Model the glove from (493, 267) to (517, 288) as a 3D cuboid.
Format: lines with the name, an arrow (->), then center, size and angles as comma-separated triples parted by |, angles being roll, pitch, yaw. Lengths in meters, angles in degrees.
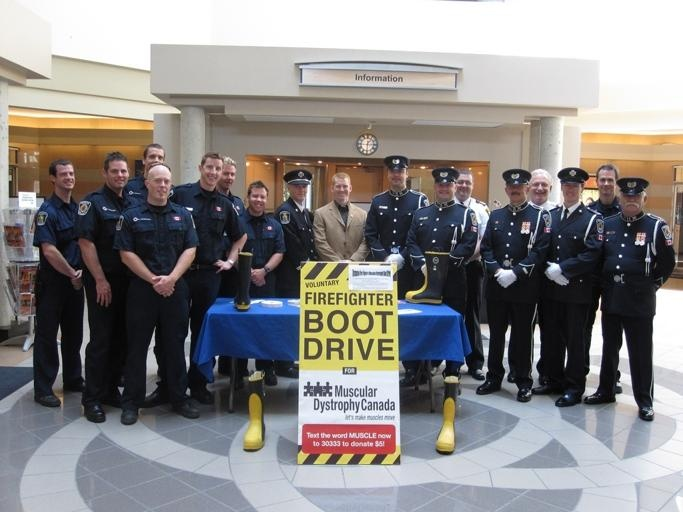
glove -> 1.586, 0.202, 6.115 | 0.142, 0.186, 0.052 | 5, 10, 9

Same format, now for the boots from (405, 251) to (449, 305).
boots -> 0.710, 0.205, 5.852 | 0.534, 0.585, 0.282 | 5, 5, 7

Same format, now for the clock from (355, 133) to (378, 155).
clock -> 0.431, -1.949, 10.956 | 0.324, 0.321, 0.026 | -11, 1, -3

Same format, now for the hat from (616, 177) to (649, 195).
hat -> 2.686, -0.662, 5.880 | 0.248, 0.171, 0.428 | 7, 16, 23

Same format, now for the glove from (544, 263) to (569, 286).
glove -> 2.039, 0.185, 6.037 | 0.096, 0.225, 0.165 | -38, -6, -47

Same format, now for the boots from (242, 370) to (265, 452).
boots -> -0.716, 1.263, 5.235 | 0.180, 0.556, 0.373 | -2, 14, -9
